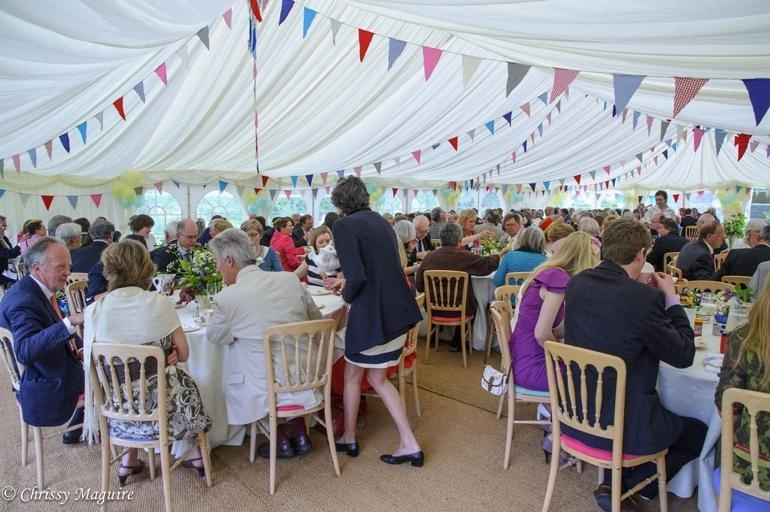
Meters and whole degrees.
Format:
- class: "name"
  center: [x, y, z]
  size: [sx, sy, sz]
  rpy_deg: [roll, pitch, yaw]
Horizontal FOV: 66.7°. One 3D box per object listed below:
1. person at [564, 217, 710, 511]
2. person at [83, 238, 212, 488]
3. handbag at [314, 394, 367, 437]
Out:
- class: "person"
  center: [1.836, 0.712, 4.256]
  size: [0.971, 1.974, 0.434]
  rpy_deg: [-1, 8, -7]
- class: "person"
  center: [-1.851, 0.841, 4.505]
  size: [0.945, 1.952, 0.488]
  rpy_deg: [-2, 8, -14]
- class: "handbag"
  center: [-0.337, 1.430, 5.350]
  size: [0.307, 0.149, 0.392]
  rpy_deg: [-2, -5, 43]
